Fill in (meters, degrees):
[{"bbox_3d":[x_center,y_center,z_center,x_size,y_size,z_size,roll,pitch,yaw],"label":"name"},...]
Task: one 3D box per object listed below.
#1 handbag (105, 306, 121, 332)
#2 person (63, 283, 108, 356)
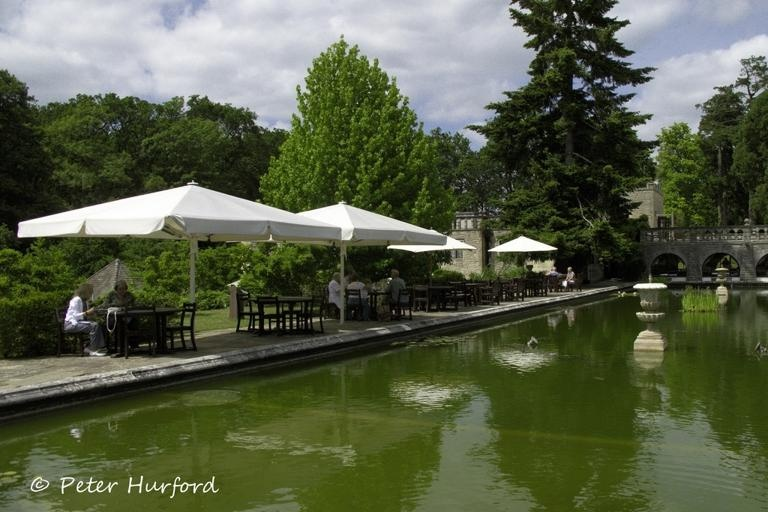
[{"bbox_3d":[-5.990,1.414,14.997,0.154,0.593,0.395,4,4,10],"label":"handbag"},{"bbox_3d":[-6.634,1.387,15.082,0.873,1.572,0.648,-1,7,-23],"label":"person"}]
